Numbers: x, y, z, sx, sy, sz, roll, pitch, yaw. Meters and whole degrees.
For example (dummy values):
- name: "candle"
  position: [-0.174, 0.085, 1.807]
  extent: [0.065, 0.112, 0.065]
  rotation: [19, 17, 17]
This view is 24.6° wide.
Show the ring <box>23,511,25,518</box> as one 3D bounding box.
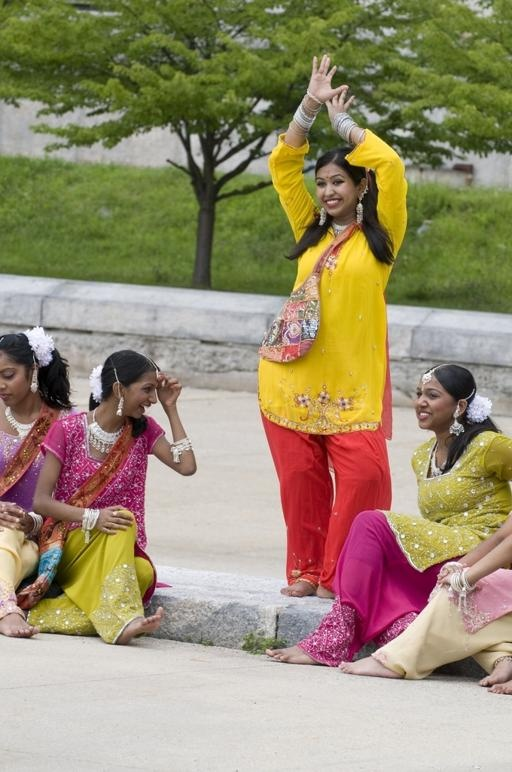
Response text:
- name: "ring"
  position: [-0.799, 0.440, 4.061]
  extent: [0.009, 0.014, 0.010]
  rotation: [2, -35, -8]

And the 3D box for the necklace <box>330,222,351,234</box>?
- name: "necklace"
  position: [0.314, -0.580, 4.307]
  extent: [0.052, 0.033, 0.050]
  rotation: [-1, -1, 22]

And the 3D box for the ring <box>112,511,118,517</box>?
- name: "ring"
  position: [-0.470, 0.427, 3.938]
  extent: [0.014, 0.005, 0.018]
  rotation: [2, 19, 1]

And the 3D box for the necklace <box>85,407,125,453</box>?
- name: "necklace"
  position: [-0.519, 0.143, 4.060]
  extent: [0.108, 0.118, 0.080]
  rotation: [7, -21, -34]

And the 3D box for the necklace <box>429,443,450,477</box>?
- name: "necklace"
  position: [0.617, 0.263, 3.956]
  extent: [0.057, 0.069, 0.033]
  rotation: [3, 4, 18]

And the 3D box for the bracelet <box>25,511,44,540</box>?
- name: "bracelet"
  position: [-0.768, 0.488, 4.121]
  extent: [0.045, 0.079, 0.078]
  rotation: [-2, 18, -4]

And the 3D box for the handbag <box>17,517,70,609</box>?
- name: "handbag"
  position: [-0.712, 0.606, 4.018]
  extent: [0.116, 0.275, 0.184]
  rotation: [7, -1, 6]

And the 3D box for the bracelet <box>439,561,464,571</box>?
- name: "bracelet"
  position: [0.606, 0.549, 3.596]
  extent: [0.040, 0.013, 0.030]
  rotation: [-17, 15, 35]

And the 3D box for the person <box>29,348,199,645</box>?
- name: "person"
  position: [-0.492, 0.357, 4.007]
  extent: [0.552, 0.953, 0.630]
  rotation: [4, 4, -2]

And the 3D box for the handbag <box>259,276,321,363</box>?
- name: "handbag"
  position: [0.149, -0.239, 4.265]
  extent: [0.077, 0.301, 0.205]
  rotation: [7, 19, -36]

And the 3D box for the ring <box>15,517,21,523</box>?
- name: "ring"
  position: [-0.813, 0.460, 4.035]
  extent: [0.013, 0.012, 0.011]
  rotation: [2, 51, -17]

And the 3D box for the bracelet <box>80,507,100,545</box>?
- name: "bracelet"
  position: [-0.540, 0.474, 3.985]
  extent: [0.056, 0.101, 0.078]
  rotation: [5, -6, 5]

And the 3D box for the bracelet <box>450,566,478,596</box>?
- name: "bracelet"
  position: [0.641, 0.592, 3.557]
  extent: [0.067, 0.075, 0.085]
  rotation: [3, -35, 18]

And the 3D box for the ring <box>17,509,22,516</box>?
- name: "ring"
  position: [-0.811, 0.438, 4.056]
  extent: [0.013, 0.026, 0.017]
  rotation: [4, 4, -7]
